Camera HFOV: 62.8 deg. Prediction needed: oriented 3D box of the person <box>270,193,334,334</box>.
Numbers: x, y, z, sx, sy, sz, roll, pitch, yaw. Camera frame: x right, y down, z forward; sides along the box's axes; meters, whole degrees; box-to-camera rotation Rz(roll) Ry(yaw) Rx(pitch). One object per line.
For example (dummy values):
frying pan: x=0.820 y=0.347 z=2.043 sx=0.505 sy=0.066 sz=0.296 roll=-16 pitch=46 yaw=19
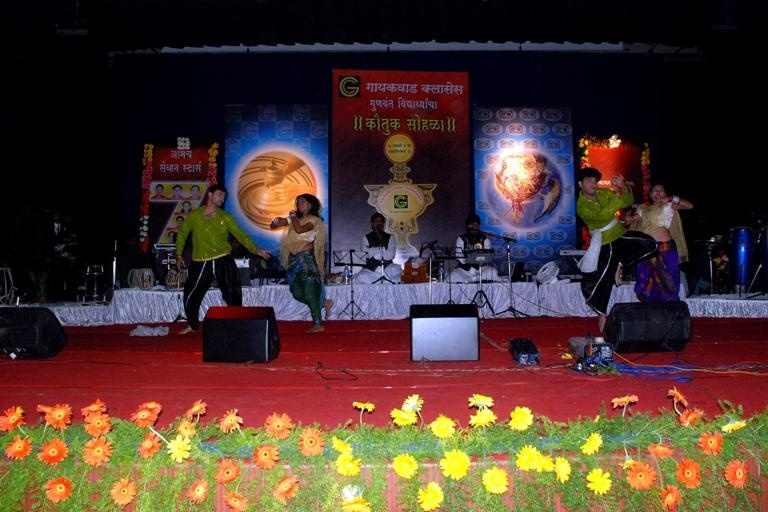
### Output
person: x=-1.133 y=0.102 z=8.745 sx=0.599 sy=1.904 sz=0.340 roll=-1 pitch=3 yaw=-11

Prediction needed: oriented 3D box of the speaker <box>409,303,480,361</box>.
speaker: x=0.657 y=0.800 z=6.975 sx=1.028 sy=0.729 sz=0.544 roll=0 pitch=3 yaw=2

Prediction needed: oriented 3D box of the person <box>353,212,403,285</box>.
person: x=-0.071 y=-0.138 z=10.871 sx=0.816 sy=1.206 sz=0.887 roll=0 pitch=3 yaw=34

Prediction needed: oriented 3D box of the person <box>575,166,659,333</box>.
person: x=2.703 y=-0.111 z=7.472 sx=0.790 sy=1.868 sz=0.306 roll=0 pitch=3 yaw=16

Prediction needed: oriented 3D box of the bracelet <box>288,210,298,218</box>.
bracelet: x=-1.260 y=-0.572 z=8.709 sx=0.102 sy=0.115 sz=0.130 roll=2 pitch=-22 yaw=1

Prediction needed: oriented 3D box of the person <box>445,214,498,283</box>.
person: x=1.477 y=-0.123 z=10.572 sx=0.964 sy=1.120 sz=0.862 roll=-2 pitch=2 yaw=-35

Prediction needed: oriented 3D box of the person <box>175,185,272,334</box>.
person: x=-2.220 y=0.034 z=8.267 sx=1.072 sy=1.879 sz=0.425 roll=-1 pitch=3 yaw=-2

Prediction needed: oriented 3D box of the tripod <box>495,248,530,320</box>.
tripod: x=2.152 y=0.394 z=10.521 sx=0.514 sy=1.172 sz=1.349 roll=0 pitch=2 yaw=13

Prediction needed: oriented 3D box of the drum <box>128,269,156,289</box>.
drum: x=-4.051 y=0.361 z=10.535 sx=0.355 sy=0.322 sz=0.346 roll=2 pitch=3 yaw=-4

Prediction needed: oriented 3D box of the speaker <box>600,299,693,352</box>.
speaker: x=2.895 y=0.727 z=6.944 sx=0.765 sy=0.523 sz=0.592 roll=-1 pitch=16 yaw=6

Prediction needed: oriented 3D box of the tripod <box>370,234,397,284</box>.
tripod: x=0.008 y=0.021 z=10.765 sx=0.528 sy=0.810 sz=0.969 roll=-1 pitch=2 yaw=-2

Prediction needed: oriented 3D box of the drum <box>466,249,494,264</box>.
drum: x=1.488 y=0.004 z=9.771 sx=0.419 sy=0.235 sz=0.170 roll=0 pitch=2 yaw=4

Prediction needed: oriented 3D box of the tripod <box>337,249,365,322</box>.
tripod: x=-0.551 y=0.451 z=10.287 sx=0.463 sy=1.102 sz=0.479 roll=-2 pitch=3 yaw=-38

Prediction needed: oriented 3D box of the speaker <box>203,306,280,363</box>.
speaker: x=-1.580 y=0.893 z=6.992 sx=0.751 sy=0.504 sz=0.574 roll=0 pitch=-2 yaw=-2

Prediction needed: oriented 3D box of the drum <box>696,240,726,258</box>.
drum: x=5.781 y=-0.139 z=11.181 sx=0.448 sy=0.495 sz=0.451 roll=4 pitch=7 yaw=31
